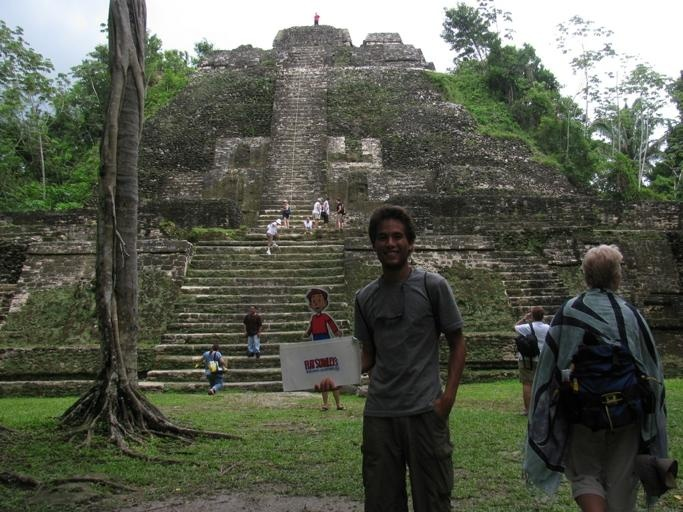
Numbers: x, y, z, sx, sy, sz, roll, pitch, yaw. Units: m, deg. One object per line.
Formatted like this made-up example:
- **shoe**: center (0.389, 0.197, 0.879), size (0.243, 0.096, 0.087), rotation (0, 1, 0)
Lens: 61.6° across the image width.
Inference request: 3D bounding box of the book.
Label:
- **book**: center (-0.161, 0.804, 4.314), size (0.610, 0.409, 0.207), rotation (0, 1, 1)

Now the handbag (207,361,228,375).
- **handbag**: center (-2.290, 2.003, 10.295), size (0.260, 0.247, 0.114), rotation (-1, 1, -13)

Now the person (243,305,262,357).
- **person**: center (-1.812, 1.538, 11.636), size (0.315, 0.986, 0.421), rotation (0, 1, -7)

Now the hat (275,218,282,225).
- **hat**: center (-1.978, -1.082, 17.902), size (0.284, 0.124, 0.345), rotation (3, 3, -7)

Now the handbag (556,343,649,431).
- **handbag**: center (1.830, 0.908, 3.951), size (0.609, 0.552, 0.325), rotation (-4, -21, 7)
